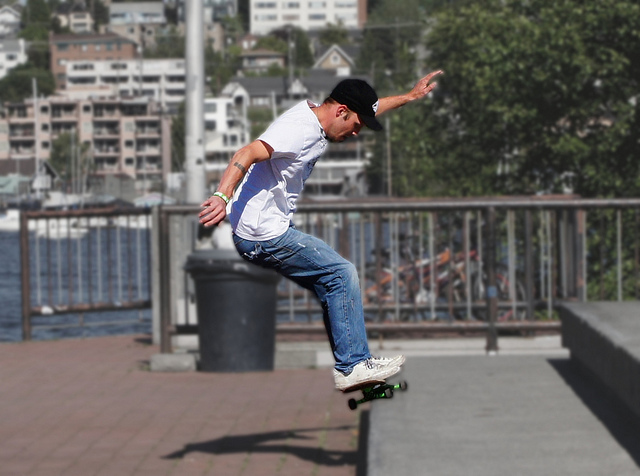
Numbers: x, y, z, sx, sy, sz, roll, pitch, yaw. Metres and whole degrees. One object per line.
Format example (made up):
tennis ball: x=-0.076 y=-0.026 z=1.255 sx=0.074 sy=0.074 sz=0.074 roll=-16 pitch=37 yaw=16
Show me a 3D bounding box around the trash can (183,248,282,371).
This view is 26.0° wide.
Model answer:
trash can: x=-1.125 y=0.864 z=16.168 sx=1.330 sy=1.486 sz=1.256 roll=1 pitch=3 yaw=15
